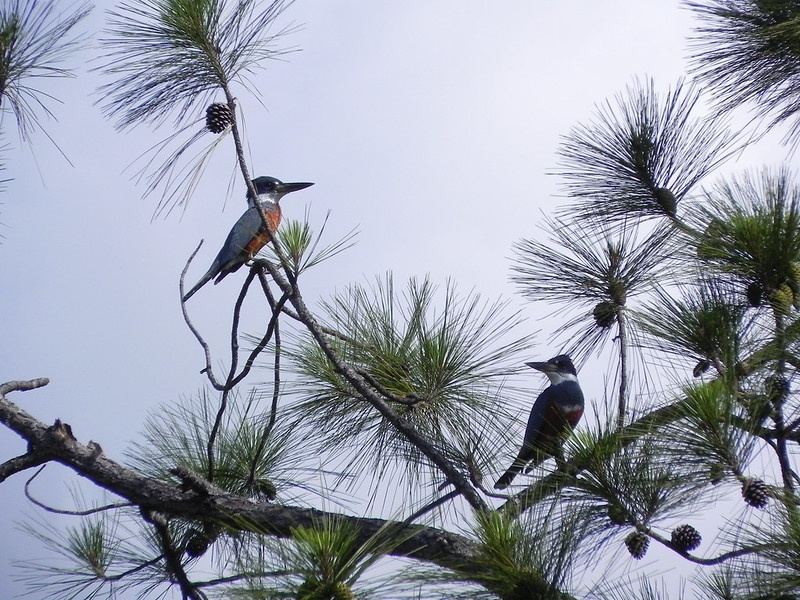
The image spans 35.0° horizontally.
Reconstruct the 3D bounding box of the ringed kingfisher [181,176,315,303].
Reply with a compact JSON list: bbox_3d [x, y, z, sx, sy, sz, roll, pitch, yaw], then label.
[{"bbox_3d":[-0.912,-0.372,7.367,0.754,0.246,0.641,-7,-105,12],"label":"ringed kingfisher"}]
